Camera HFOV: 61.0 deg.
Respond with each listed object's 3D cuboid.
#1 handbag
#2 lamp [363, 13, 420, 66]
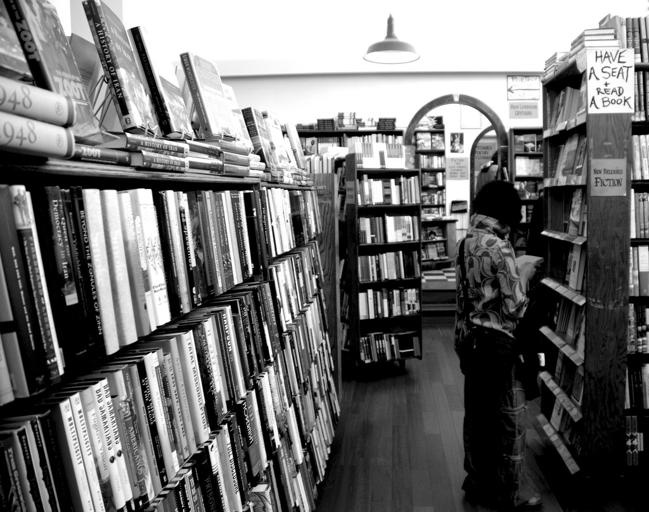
[{"bbox_3d":[0.933,0.535,3.282,0.258,0.377,0.492,14,-7,10],"label":"handbag"},{"bbox_3d":[0.968,-2.955,7.882,0.719,0.861,0.720,-2,4,-24],"label":"lamp"}]
